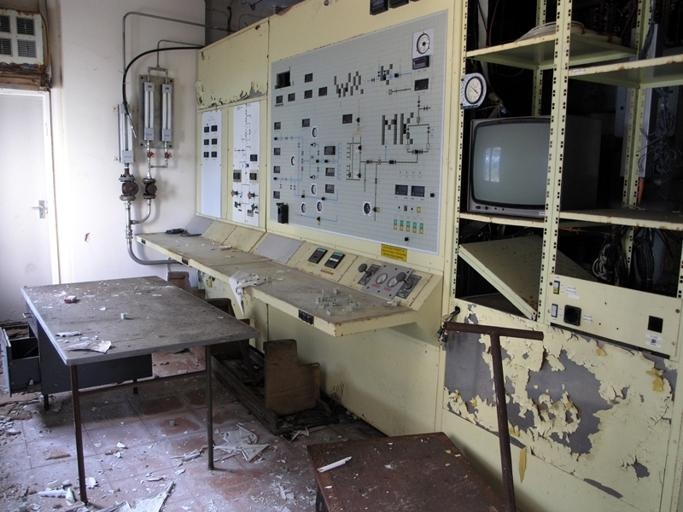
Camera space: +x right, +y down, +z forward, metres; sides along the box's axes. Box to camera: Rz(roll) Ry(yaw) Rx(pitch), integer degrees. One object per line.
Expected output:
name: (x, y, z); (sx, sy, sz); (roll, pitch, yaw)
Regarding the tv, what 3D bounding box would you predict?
tv: (0.850, -0.436, 2.474); (0.279, 0.493, 0.486); (-4, 11, -40)
